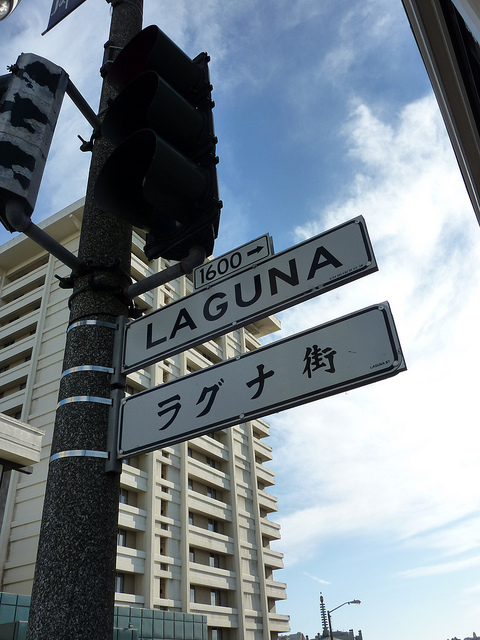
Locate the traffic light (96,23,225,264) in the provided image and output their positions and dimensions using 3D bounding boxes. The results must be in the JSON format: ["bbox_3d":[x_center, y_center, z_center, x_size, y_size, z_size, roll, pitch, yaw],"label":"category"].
[{"bbox_3d":[-0.474,-1.159,3.542,0.700,1.655,0.770,-21,-32,28],"label":"traffic light"}]

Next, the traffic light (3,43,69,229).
[{"bbox_3d":[-1.139,-0.979,2.817,0.292,1.064,0.254,20,-40,-32],"label":"traffic light"}]
